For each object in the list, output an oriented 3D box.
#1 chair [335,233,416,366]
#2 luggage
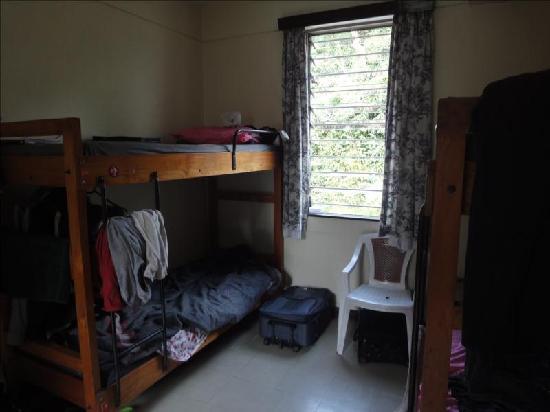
[{"bbox_3d":[0.819,0.715,3.461,0.550,0.851,0.707,5,15,18],"label":"chair"},{"bbox_3d":[0.197,0.972,3.784,0.546,0.360,0.780,0,5,26],"label":"luggage"}]
